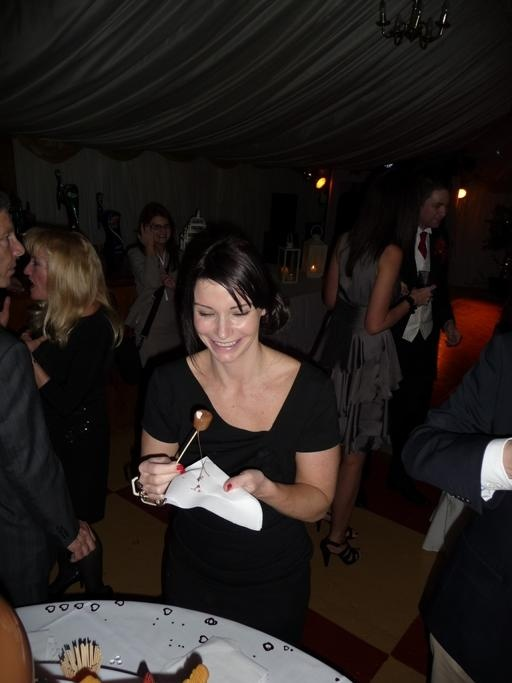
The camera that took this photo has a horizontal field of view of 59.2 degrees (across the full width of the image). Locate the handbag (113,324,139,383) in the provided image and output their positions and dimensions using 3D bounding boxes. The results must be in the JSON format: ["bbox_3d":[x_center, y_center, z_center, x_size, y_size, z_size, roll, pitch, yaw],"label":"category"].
[{"bbox_3d":[-0.687,0.113,2.421,0.123,0.282,0.404,1,4,-15],"label":"handbag"}]

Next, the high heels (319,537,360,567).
[{"bbox_3d":[0.468,1.184,2.587,0.205,0.170,0.121,-8,23,-9],"label":"high heels"}]

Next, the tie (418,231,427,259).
[{"bbox_3d":[0.962,-0.558,2.602,0.042,0.154,0.106,4,4,31],"label":"tie"}]
